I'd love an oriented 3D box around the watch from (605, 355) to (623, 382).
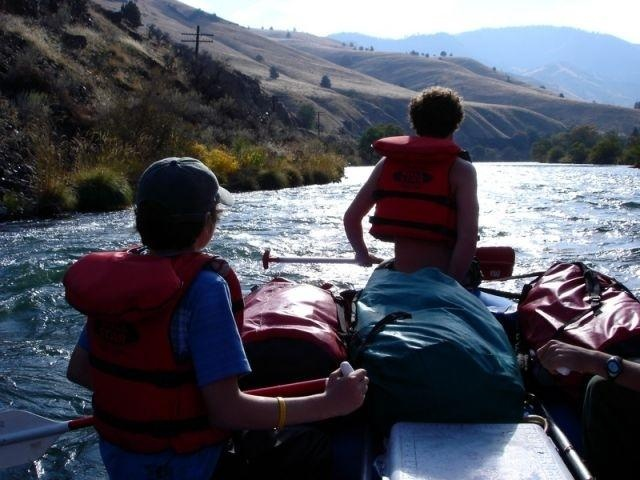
[{"bbox_3d":[1.375,0.596,2.925,0.066,0.104,0.096,3,-1,15],"label":"watch"}]
